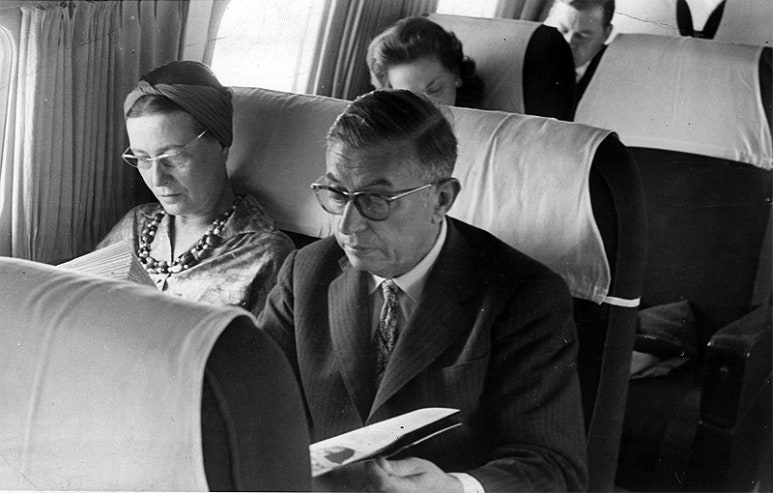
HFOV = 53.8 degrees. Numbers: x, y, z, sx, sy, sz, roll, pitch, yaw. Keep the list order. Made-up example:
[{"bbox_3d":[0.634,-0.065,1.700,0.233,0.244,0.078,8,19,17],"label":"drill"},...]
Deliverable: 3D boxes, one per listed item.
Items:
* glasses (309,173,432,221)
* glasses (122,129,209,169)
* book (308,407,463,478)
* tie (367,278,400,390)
[{"bbox_3d":[-0.058,-0.090,1.416,0.260,0.077,0.123,8,4,42],"label":"glasses"},{"bbox_3d":[-0.437,-0.178,1.513,0.106,0.031,0.102,-3,39,32],"label":"glasses"},{"bbox_3d":[0.034,0.352,1.399,0.351,0.046,0.090,-11,37,-21],"label":"book"},{"bbox_3d":[-0.009,0.164,1.438,0.038,0.205,0.025,5,-14,4],"label":"tie"}]
